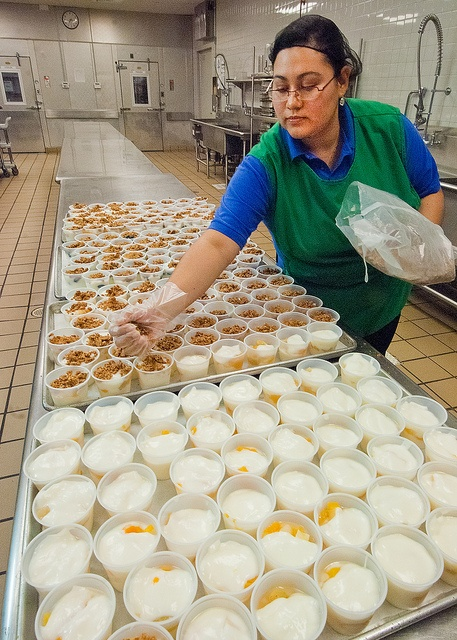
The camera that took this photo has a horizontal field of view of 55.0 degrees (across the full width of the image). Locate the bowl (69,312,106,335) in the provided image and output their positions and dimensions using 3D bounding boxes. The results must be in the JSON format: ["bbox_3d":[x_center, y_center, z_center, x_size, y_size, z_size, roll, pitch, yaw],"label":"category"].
[{"bbox_3d":[-0.489,0.008,1.539,0.081,0.024,0.078,1,21,0],"label":"bowl"}]

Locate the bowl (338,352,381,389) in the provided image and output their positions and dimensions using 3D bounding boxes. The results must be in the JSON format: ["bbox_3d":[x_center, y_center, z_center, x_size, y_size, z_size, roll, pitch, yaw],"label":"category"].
[{"bbox_3d":[0.376,0.134,1.267,0.097,0.070,0.095,0,36,0],"label":"bowl"}]

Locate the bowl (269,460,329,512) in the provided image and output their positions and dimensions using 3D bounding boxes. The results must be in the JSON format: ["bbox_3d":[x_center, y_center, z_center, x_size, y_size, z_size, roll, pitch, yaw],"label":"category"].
[{"bbox_3d":[0.144,0.339,0.901,0.099,0.072,0.098,-1,36,1],"label":"bowl"}]

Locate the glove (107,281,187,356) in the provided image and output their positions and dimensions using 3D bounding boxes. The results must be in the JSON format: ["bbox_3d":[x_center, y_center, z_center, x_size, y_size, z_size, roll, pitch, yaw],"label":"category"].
[{"bbox_3d":[-0.233,0.017,1.234,0.102,0.221,0.218,23,33,39],"label":"glove"}]

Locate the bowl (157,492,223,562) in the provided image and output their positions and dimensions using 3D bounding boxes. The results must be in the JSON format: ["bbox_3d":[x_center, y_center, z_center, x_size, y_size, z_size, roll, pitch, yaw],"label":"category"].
[{"bbox_3d":[-0.074,0.395,0.825,0.112,0.080,0.105,1,22,0],"label":"bowl"}]

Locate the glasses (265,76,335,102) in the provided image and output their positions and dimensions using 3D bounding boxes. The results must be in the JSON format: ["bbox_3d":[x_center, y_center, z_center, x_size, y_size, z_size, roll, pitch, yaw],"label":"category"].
[{"bbox_3d":[0.205,-0.644,1.239,0.176,0.063,0.101,7,25,13],"label":"glasses"}]

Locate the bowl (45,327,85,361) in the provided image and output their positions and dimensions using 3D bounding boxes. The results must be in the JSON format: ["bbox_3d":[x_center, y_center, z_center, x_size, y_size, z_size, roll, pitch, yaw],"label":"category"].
[{"bbox_3d":[-0.529,0.066,1.408,0.107,0.076,0.107,0,30,0],"label":"bowl"}]

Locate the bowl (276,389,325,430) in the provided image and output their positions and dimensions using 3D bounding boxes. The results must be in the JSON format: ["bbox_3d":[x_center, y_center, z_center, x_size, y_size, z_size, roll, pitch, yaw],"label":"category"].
[{"bbox_3d":[0.186,0.238,1.116,0.085,0.064,0.087,-1,37,1],"label":"bowl"}]

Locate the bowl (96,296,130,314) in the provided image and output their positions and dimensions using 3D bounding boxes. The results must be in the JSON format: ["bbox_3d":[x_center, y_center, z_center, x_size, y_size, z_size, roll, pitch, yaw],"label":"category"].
[{"bbox_3d":[-0.452,-0.053,1.675,0.079,0.028,0.082,3,24,-1],"label":"bowl"}]

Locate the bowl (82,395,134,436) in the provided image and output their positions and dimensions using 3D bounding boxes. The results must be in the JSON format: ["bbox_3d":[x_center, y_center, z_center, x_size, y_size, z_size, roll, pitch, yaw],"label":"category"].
[{"bbox_3d":[-0.294,0.231,1.087,0.100,0.064,0.096,-3,28,2],"label":"bowl"}]

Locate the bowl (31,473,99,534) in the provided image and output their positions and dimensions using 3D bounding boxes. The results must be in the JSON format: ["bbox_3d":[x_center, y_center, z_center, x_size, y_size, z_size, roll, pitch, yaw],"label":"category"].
[{"bbox_3d":[-0.322,0.373,0.875,0.124,0.073,0.115,-3,37,3],"label":"bowl"}]

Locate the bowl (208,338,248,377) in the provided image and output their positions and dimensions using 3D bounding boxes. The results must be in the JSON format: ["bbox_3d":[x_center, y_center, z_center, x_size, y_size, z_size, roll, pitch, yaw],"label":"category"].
[{"bbox_3d":[0.000,0.107,1.336,0.104,0.075,0.105,-2,27,1],"label":"bowl"}]

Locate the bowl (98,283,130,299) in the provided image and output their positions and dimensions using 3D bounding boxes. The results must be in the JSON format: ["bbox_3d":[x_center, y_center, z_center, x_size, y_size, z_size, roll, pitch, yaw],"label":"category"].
[{"bbox_3d":[-0.476,-0.120,1.826,0.077,0.027,0.077,1,23,0],"label":"bowl"}]

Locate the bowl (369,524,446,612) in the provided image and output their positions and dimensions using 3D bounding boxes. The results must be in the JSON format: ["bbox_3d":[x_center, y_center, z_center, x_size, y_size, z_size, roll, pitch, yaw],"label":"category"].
[{"bbox_3d":[0.316,0.442,0.768,0.114,0.075,0.107,-1,24,0],"label":"bowl"}]

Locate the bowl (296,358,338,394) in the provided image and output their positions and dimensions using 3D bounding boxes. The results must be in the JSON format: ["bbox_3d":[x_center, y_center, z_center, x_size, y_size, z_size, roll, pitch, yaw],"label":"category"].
[{"bbox_3d":[0.253,0.153,1.263,0.101,0.074,0.100,0,35,0],"label":"bowl"}]

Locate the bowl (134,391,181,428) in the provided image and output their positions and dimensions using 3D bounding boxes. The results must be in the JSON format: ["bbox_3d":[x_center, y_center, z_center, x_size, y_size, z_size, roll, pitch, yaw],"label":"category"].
[{"bbox_3d":[-0.185,0.211,1.107,0.089,0.062,0.086,-3,36,2],"label":"bowl"}]

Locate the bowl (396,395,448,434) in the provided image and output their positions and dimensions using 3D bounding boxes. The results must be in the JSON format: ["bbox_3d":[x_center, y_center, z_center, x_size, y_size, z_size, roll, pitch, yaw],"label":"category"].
[{"bbox_3d":[0.473,0.233,1.087,0.093,0.065,0.089,-1,39,1],"label":"bowl"}]

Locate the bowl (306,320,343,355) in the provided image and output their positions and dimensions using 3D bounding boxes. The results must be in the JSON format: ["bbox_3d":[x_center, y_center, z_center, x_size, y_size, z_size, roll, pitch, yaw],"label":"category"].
[{"bbox_3d":[0.310,0.057,1.425,0.108,0.078,0.109,-2,27,1],"label":"bowl"}]

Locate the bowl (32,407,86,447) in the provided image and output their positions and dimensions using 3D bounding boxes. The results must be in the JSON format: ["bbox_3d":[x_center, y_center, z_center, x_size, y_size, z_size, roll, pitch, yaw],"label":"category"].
[{"bbox_3d":[-0.406,0.267,1.068,0.093,0.071,0.096,-7,37,6],"label":"bowl"}]

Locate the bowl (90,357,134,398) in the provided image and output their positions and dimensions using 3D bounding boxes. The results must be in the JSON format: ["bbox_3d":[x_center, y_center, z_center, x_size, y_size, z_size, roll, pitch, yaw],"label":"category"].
[{"bbox_3d":[-0.331,0.170,1.244,0.112,0.083,0.102,4,24,6],"label":"bowl"}]

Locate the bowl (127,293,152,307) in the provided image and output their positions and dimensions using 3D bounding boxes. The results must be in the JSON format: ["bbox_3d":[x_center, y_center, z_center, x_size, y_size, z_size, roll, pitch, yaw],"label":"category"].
[{"bbox_3d":[-0.353,-0.079,1.741,0.065,0.023,0.061,-13,37,10],"label":"bowl"}]

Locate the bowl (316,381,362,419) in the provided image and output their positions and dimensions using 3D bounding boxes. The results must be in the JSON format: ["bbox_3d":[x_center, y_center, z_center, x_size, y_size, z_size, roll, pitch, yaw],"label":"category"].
[{"bbox_3d":[0.292,0.210,1.156,0.084,0.060,0.081,0,43,0],"label":"bowl"}]

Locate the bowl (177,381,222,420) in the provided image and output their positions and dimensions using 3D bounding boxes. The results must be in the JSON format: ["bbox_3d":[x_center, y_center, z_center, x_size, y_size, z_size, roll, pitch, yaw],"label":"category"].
[{"bbox_3d":[-0.077,0.200,1.139,0.097,0.065,0.093,-2,39,2],"label":"bowl"}]

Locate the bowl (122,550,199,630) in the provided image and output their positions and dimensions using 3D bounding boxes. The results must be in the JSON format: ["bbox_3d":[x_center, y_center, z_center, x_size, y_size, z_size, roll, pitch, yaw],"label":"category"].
[{"bbox_3d":[-0.111,0.447,0.717,0.119,0.042,0.113,0,28,0],"label":"bowl"}]

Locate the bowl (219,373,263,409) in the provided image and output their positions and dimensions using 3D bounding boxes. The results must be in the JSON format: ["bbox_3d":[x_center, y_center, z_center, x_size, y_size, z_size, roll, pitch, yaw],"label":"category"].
[{"bbox_3d":[0.032,0.190,1.193,0.095,0.068,0.094,-3,36,2],"label":"bowl"}]

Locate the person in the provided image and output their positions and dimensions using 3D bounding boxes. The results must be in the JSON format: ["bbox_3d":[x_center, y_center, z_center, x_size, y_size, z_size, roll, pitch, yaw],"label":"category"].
[{"bbox_3d":[0.215,-0.351,1.467,1.223,1.087,0.352,-12,28,-26],"label":"person"}]

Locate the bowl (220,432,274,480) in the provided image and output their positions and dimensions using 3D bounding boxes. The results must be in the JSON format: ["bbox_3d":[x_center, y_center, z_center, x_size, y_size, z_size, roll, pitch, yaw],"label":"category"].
[{"bbox_3d":[0.042,0.301,0.976,0.099,0.070,0.097,-1,39,1],"label":"bowl"}]

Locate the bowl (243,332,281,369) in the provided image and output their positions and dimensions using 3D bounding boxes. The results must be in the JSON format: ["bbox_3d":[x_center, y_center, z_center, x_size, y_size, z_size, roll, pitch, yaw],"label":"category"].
[{"bbox_3d":[0.103,0.091,1.382,0.106,0.075,0.105,-1,26,0],"label":"bowl"}]

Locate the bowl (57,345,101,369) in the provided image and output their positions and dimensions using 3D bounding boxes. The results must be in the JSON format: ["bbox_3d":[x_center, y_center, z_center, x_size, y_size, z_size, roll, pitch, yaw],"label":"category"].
[{"bbox_3d":[-0.450,0.095,1.310,0.083,0.025,0.080,1,22,0],"label":"bowl"}]

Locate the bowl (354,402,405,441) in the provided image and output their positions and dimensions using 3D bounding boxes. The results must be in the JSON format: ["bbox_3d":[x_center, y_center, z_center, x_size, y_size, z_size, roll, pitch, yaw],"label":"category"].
[{"bbox_3d":[0.371,0.248,1.079,0.091,0.063,0.087,-1,38,1],"label":"bowl"}]

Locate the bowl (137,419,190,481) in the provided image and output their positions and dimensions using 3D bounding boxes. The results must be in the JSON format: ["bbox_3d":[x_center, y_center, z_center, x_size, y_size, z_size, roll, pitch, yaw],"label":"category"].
[{"bbox_3d":[-0.150,0.284,1.001,0.123,0.086,0.118,-2,28,1],"label":"bowl"}]

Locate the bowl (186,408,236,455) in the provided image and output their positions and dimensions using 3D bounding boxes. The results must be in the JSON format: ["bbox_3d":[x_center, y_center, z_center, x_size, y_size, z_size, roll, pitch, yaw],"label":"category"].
[{"bbox_3d":[-0.044,0.257,1.038,0.097,0.067,0.093,-1,33,1],"label":"bowl"}]

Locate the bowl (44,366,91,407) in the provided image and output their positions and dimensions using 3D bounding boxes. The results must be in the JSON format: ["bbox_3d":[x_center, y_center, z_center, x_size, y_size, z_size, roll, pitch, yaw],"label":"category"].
[{"bbox_3d":[-0.432,0.171,1.166,0.105,0.063,0.101,0,19,0],"label":"bowl"}]

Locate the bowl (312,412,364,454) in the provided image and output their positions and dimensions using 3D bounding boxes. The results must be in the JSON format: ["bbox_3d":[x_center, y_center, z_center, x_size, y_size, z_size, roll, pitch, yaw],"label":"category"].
[{"bbox_3d":[0.257,0.271,1.056,0.097,0.070,0.095,1,38,-1],"label":"bowl"}]

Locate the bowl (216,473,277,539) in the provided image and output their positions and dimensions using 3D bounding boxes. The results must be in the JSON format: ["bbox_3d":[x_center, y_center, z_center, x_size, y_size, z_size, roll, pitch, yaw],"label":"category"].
[{"bbox_3d":[0.032,0.361,0.878,0.101,0.073,0.102,-1,33,1],"label":"bowl"}]

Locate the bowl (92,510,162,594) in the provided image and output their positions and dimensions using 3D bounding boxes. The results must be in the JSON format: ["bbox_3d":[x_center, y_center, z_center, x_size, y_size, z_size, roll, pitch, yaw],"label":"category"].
[{"bbox_3d":[-0.179,0.423,0.805,0.119,0.084,0.112,-3,25,2],"label":"bowl"}]

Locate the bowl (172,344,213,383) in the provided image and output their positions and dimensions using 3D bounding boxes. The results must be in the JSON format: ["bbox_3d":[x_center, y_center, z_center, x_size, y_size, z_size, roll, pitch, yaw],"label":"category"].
[{"bbox_3d":[-0.100,0.116,1.307,0.104,0.076,0.105,-2,26,1],"label":"bowl"}]

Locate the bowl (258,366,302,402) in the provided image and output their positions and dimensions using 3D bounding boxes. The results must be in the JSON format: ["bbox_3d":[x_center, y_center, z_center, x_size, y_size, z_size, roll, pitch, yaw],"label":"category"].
[{"bbox_3d":[0.143,0.172,1.220,0.097,0.059,0.092,-1,38,1],"label":"bowl"}]

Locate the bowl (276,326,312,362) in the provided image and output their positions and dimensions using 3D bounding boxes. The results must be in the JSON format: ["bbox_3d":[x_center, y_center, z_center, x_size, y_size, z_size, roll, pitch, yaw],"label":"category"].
[{"bbox_3d":[0.203,0.075,1.390,0.102,0.076,0.104,-2,29,1],"label":"bowl"}]

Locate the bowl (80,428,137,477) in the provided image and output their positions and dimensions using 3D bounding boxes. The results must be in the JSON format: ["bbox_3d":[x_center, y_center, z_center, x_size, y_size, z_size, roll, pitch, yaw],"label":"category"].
[{"bbox_3d":[-0.267,0.287,0.976,0.090,0.056,0.091,-5,35,3],"label":"bowl"}]

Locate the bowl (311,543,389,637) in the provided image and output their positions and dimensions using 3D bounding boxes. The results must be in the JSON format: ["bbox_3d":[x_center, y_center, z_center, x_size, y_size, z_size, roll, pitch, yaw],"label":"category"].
[{"bbox_3d":[0.191,0.441,0.755,0.113,0.081,0.113,-1,34,1],"label":"bowl"}]

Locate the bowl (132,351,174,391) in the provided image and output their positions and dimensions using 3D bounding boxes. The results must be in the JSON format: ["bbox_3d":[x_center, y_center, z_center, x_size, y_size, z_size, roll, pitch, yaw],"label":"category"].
[{"bbox_3d":[-0.215,0.143,1.247,0.100,0.077,0.104,0,19,0],"label":"bowl"}]

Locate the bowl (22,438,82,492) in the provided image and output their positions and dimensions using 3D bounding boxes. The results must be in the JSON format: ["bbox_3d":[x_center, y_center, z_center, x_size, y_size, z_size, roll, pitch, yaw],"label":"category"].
[{"bbox_3d":[-0.376,0.303,0.937,0.100,0.059,0.096,-5,31,3],"label":"bowl"}]
